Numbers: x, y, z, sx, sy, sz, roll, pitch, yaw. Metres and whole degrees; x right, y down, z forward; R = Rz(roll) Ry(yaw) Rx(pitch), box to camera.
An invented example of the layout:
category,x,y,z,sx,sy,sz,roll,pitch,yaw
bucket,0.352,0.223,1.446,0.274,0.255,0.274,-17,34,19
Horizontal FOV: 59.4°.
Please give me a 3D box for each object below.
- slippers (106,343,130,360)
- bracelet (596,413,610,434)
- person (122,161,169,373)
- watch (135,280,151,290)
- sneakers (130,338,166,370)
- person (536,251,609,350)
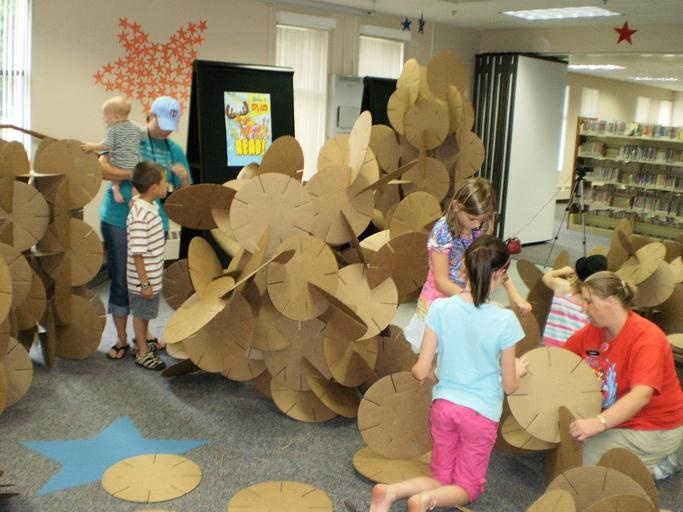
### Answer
category,x,y,z,sx,sy,sz,roll,pitch,yaw
slippers,-1.487,0.634,4.002,0.062,0.045,0.165,0,5,0
bracelet,1.182,0.763,2.726,0.043,0.076,0.072,-10,47,12
person,-1.220,0.051,3.798,0.256,1.287,0.412,-10,17,-41
watch,-1.248,0.179,3.721,0.103,0.058,0.053,6,14,13
sneakers,-1.278,0.658,3.942,0.125,0.184,0.362,-5,9,-40
person,1.301,0.389,3.531,0.275,0.837,0.225,13,22,15
